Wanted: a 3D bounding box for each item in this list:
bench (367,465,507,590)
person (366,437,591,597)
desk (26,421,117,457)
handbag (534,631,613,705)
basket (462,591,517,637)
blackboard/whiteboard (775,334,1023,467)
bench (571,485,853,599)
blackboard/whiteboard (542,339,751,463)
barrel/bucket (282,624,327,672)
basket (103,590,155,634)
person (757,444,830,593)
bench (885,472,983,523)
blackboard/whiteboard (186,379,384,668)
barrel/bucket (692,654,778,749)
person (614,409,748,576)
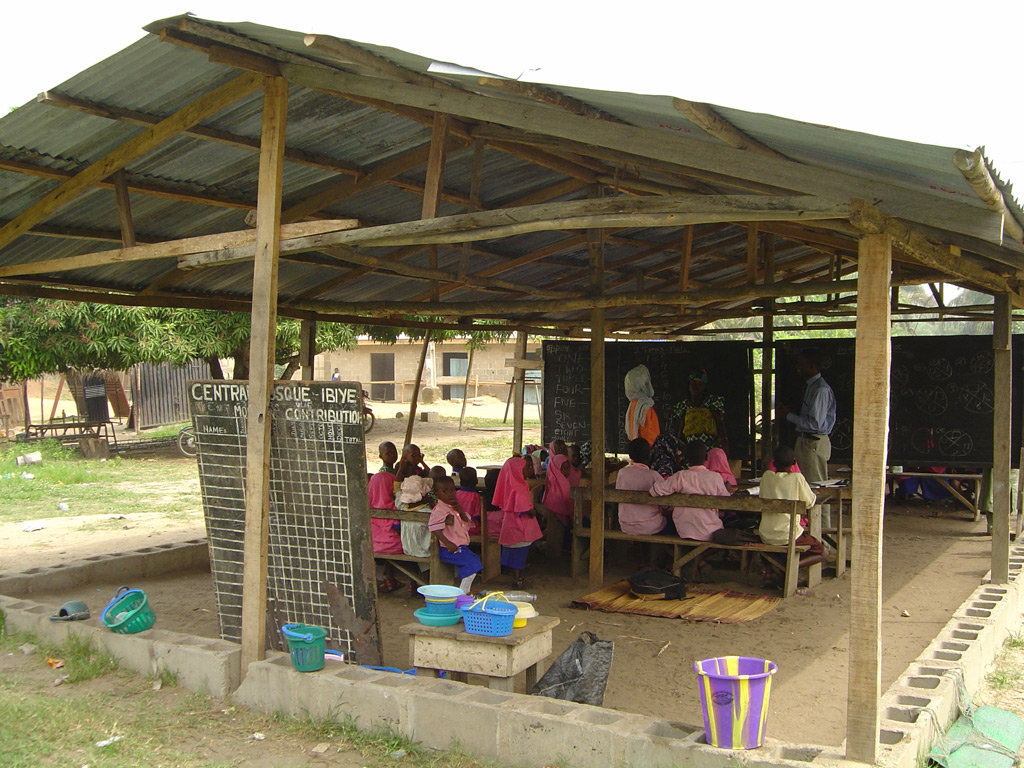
[{"bbox_3d":[-0.652,1.337,9.203,0.706,1.113,0.973,1,1,-5],"label":"bench"},{"bbox_3d":[-0.368,1.244,9.640,2.478,0.760,1.697,4,7,36],"label":"person"},{"bbox_3d":[-10.513,1.206,23.274,2.017,0.652,5.834,1,1,-26],"label":"desk"},{"bbox_3d":[0.508,1.956,6.813,0.402,0.143,0.569,3,38,43],"label":"handbag"},{"bbox_3d":[-0.139,1.607,6.787,0.347,0.169,0.257,-4,-4,34],"label":"basket"},{"bbox_3d":[4.717,0.211,11.508,2.612,1.078,0.054,0,-1,27],"label":"blackboard/whiteboard"},{"bbox_3d":[1.820,1.474,9.929,2.147,0.620,1.837,-1,-1,22],"label":"bench"},{"bbox_3d":[2.017,0.239,13.778,2.518,0.989,0.032,2,4,30],"label":"blackboard/whiteboard"},{"bbox_3d":[-1.455,1.848,6.927,0.363,0.214,0.295,-4,-3,18],"label":"barrel/bucket"},{"bbox_3d":[-3.055,1.773,7.735,0.362,0.302,0.258,2,1,24],"label":"basket"},{"bbox_3d":[2.732,1.272,9.533,0.604,1.335,0.800,2,2,23],"label":"person"},{"bbox_3d":[5.997,1.464,13.885,1.120,0.607,1.788,1,1,16],"label":"bench"},{"bbox_3d":[-1.712,1.006,7.439,1.582,2.044,0.378,2,2,29],"label":"blackboard/whiteboard"},{"bbox_3d":[1.248,1.870,5.842,0.667,0.367,0.556,5,-9,-30],"label":"barrel/bucket"},{"bbox_3d":[1.774,1.124,10.215,1.507,0.968,1.100,1,2,19],"label":"person"}]
